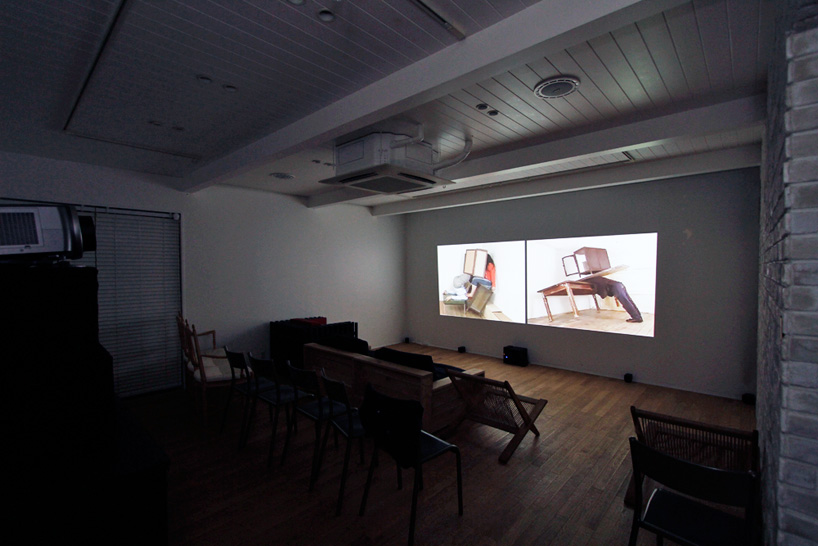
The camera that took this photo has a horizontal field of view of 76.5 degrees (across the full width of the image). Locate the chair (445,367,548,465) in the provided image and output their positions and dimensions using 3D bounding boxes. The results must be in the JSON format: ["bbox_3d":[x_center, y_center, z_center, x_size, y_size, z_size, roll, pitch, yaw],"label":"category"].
[{"bbox_3d":[0.986,1.364,5.480,0.913,0.807,0.836,-3,2,43],"label":"chair"}]
